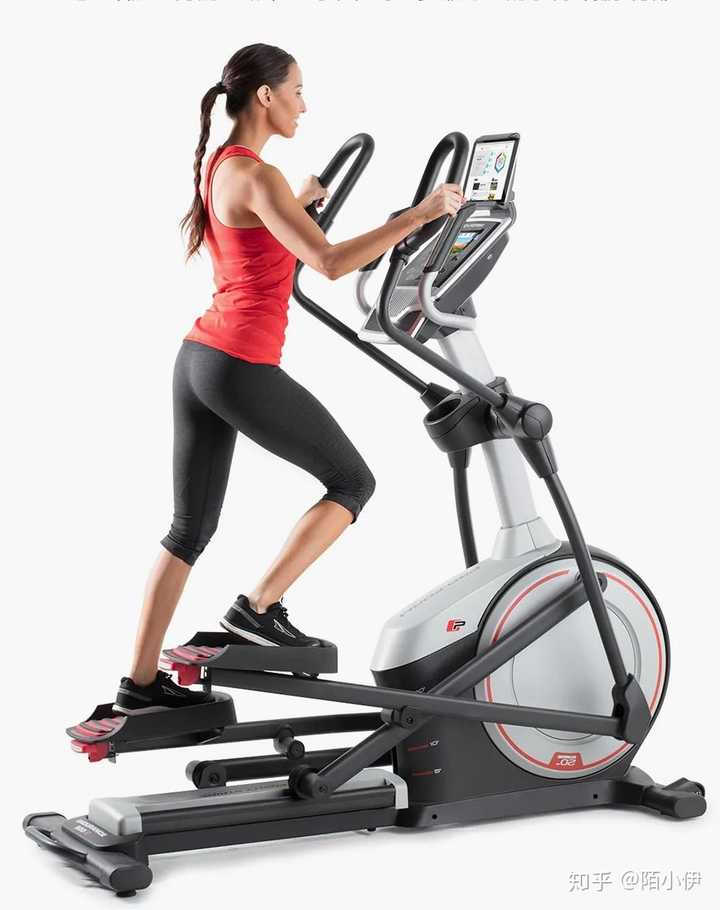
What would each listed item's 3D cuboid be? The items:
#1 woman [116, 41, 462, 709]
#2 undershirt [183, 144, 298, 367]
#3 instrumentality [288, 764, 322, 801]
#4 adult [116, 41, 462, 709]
[{"bbox_3d":[-0.204,-0.186,1.924,0.706,1.542,0.407,1,-6,0],"label":"woman"},{"bbox_3d":[-0.284,-0.463,1.943,0.258,0.526,0.234,1,-6,1],"label":"undershirt"},{"bbox_3d":[-0.136,0.787,2.025,0.052,0.073,0.140,4,-6,-28],"label":"instrumentality"},{"bbox_3d":[-0.205,-0.186,1.924,0.704,1.542,0.407,1,-6,0],"label":"adult"}]
